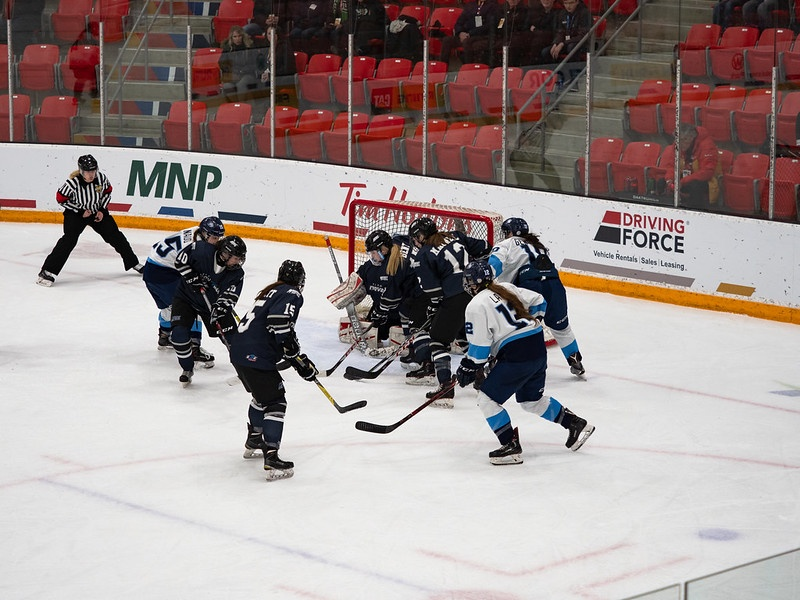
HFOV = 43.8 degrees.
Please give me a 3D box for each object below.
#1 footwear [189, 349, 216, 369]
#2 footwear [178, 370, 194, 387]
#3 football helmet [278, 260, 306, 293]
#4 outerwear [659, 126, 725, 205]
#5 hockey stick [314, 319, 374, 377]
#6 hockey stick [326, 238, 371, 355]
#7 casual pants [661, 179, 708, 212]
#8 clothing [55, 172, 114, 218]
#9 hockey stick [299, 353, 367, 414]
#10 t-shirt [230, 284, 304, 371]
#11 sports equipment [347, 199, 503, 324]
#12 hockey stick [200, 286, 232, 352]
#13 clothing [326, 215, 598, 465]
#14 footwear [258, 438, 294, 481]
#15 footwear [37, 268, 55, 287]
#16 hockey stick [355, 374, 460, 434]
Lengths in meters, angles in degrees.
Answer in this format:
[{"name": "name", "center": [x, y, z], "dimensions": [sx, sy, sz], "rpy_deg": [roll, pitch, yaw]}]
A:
[{"name": "footwear", "center": [-1.578, 0.450, 8.015], "dimensions": [0.221, 0.097, 0.093], "rpy_deg": [36, -8, -32]}, {"name": "footwear", "center": [-1.642, 0.581, 7.613], "dimensions": [0.093, 0.123, 0.137], "rpy_deg": [1, 6, -16]}, {"name": "football helmet", "center": [-0.670, -0.158, 6.334], "dimensions": [0.210, 0.194, 0.163], "rpy_deg": [-1, 11, -30]}, {"name": "outerwear", "center": [2.742, -1.177, 9.440], "dimensions": [0.553, 0.925, 0.527], "rpy_deg": [-14, 21, -24]}, {"name": "hockey stick", "center": [-0.461, 0.405, 8.311], "dimensions": [0.074, 0.116, 0.673], "rpy_deg": [36, 51, 19]}, {"name": "hockey stick", "center": [-0.459, 0.005, 8.781], "dimensions": [0.141, 1.122, 0.197], "rpy_deg": [-17, -10, -38]}, {"name": "casual pants", "center": [2.752, -0.967, 9.344], "dimensions": [0.292, 0.270, 0.102], "rpy_deg": [6, 7, 35]}, {"name": "clothing", "center": [-3.152, -1.065, 9.957], "dimensions": [0.556, 0.413, 0.351], "rpy_deg": [-16, 42, -39]}, {"name": "hockey stick", "center": [-0.509, 0.626, 7.461], "dimensions": [0.107, 0.282, 1.213], "rpy_deg": [-18, 18, -10]}, {"name": "t-shirt", "center": [-0.861, 0.186, 6.419], "dimensions": [0.338, 0.539, 0.507], "rpy_deg": [17, 16, -35]}, {"name": "sports equipment", "center": [0.186, -0.278, 7.839], "dimensions": [1.045, 0.885, 0.338], "rpy_deg": [9, 11, 36]}, {"name": "hockey stick", "center": [-1.435, 0.129, 7.746], "dimensions": [0.080, 0.562, 0.026], "rpy_deg": [-22, 20, -7]}, {"name": "clothing", "center": [0.369, 0.177, 7.340], "dimensions": [1.686, 1.504, 2.438], "rpy_deg": [1, 6, -19]}, {"name": "footwear", "center": [-0.760, 0.969, 6.184], "dimensions": [0.200, 0.223, 0.166], "rpy_deg": [2, 5, -8]}, {"name": "footwear", "center": [-3.511, -0.217, 9.910], "dimensions": [0.186, 0.167, 0.135], "rpy_deg": [-2, 7, -39]}, {"name": "hockey stick", "center": [0.059, 0.722, 7.016], "dimensions": [1.172, 0.089, 0.332], "rpy_deg": [-10, 52, -48]}]
